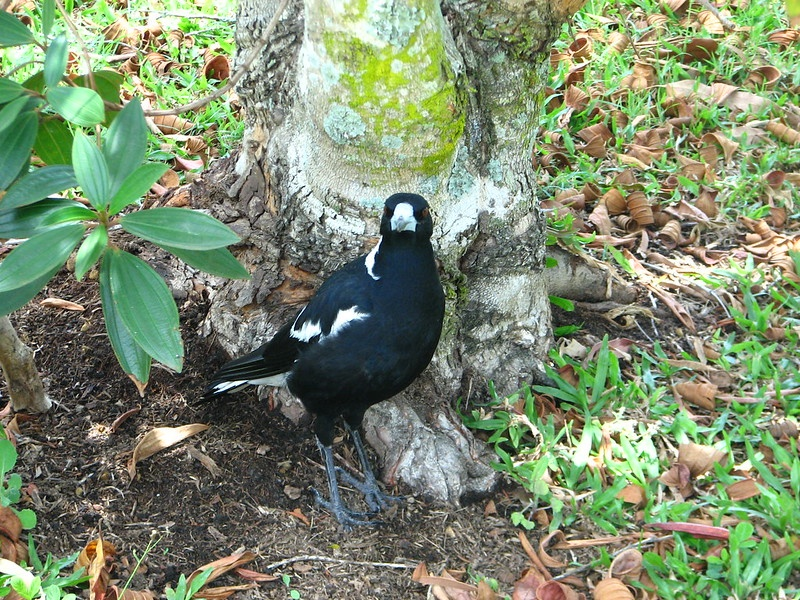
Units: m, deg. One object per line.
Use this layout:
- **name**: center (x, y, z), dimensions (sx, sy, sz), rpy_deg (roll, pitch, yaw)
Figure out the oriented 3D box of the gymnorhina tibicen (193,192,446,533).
- **gymnorhina tibicen**: center (-0.209, 0.261, 3.860), dimensions (1.064, 1.522, 0.761), rpy_deg (35, 41, 15)
